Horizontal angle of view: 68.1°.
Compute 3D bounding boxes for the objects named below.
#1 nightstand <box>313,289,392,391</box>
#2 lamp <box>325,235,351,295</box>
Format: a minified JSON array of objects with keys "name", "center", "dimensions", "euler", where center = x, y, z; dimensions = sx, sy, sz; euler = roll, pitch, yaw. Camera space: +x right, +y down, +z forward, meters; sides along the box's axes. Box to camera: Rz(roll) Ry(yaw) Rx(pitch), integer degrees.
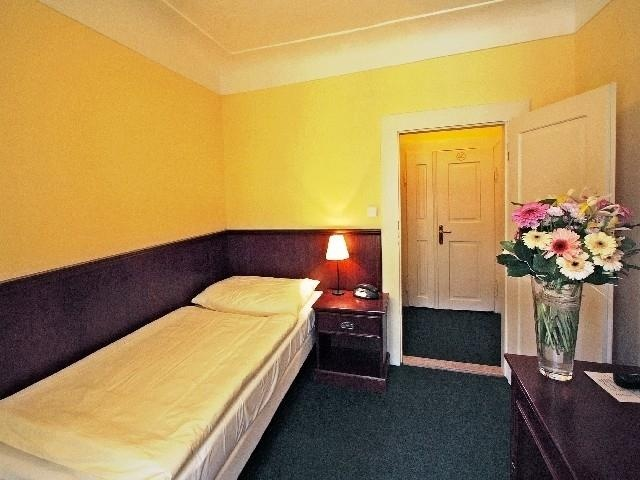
[{"name":"nightstand","center":[0.292,0.881,4.292],"dimensions":[0.660,0.731,0.571],"euler":[3,12,18]},{"name":"lamp","center":[0.168,0.218,4.432],"dimensions":[0.212,0.551,0.308],"euler":[0,4,3]}]
